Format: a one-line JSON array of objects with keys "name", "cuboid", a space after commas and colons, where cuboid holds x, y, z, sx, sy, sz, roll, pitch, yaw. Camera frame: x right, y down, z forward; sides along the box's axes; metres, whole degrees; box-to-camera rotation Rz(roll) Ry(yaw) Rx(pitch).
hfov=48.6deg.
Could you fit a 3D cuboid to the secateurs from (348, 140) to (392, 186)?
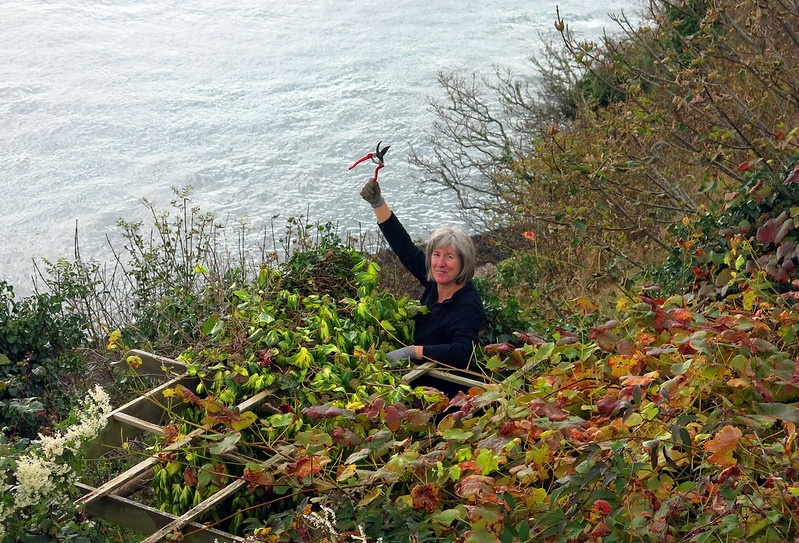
[{"name": "secateurs", "cuboid": [-0.209, -0.828, 6.712, 0.202, 0.050, 0.462, 23, 46, 9]}]
